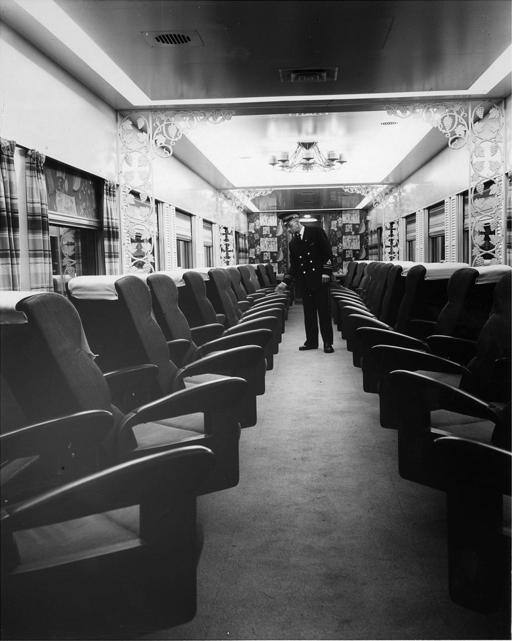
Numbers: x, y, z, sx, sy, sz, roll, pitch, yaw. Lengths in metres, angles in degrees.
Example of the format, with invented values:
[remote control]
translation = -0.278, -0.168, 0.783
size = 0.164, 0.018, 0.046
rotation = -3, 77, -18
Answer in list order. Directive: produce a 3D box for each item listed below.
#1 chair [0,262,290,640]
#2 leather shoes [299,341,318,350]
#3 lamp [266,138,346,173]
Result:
[chair]
translation = -0.388, 0.264, 1.838
size = 0.698, 1.045, 0.717
rotation = -1, 1, 14
[leather shoes]
translation = 0.639, 0.307, 6.286
size = 0.176, 0.162, 0.108
rotation = 2, 2, 5
[lamp]
translation = 1.128, -3.360, 10.567
size = 0.931, 0.399, 0.951
rotation = 3, 8, 29
